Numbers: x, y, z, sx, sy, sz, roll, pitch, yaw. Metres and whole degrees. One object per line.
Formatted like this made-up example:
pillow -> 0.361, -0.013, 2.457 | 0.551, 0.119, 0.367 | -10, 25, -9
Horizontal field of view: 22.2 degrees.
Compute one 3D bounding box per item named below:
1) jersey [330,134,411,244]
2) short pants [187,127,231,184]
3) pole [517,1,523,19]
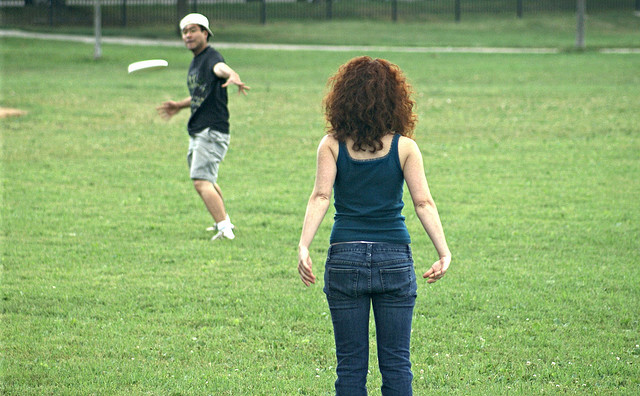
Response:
jersey -> 0.815, -0.091, 26.911 | 1.457, 1.874, 1.013 | 0, -5, -8
short pants -> -2.078, -0.808, 30.612 | 0.715, 1.028, 0.177 | -3, 9, -9
pole -> 3.933, -3.713, 32.100 | 0.092, 0.341, 0.175 | -10, 12, -42
